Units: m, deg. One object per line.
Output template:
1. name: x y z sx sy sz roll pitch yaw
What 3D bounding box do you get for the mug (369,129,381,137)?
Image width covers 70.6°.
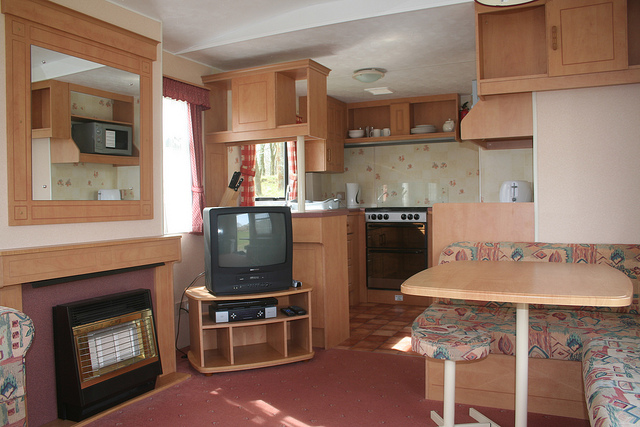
1. mug: 0.806 -1.197 6.744 0.168 0.124 0.222 0 7 10

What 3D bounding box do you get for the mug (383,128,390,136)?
1. mug: 0.985 -1.223 6.780 0.093 0.130 0.275 -1 7 9

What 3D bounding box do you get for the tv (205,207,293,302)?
1. tv: -0.761 0.370 4.199 0.504 0.827 0.953 -7 -6 43

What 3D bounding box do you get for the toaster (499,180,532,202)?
1. toaster: 1.815 -0.191 4.203 0.232 0.198 0.216 0 -2 6

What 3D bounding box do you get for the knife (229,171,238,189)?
1. knife: -0.854 -0.324 4.447 0.076 0.155 0.145 -2 7 -3

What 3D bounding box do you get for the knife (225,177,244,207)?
1. knife: -0.846 -0.208 4.422 0.103 0.323 0.101 18 13 14

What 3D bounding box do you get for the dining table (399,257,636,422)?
1. dining table: 1.214 0.558 2.861 1.216 1.058 1.172 3 6 20

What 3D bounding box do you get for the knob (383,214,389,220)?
1. knob: 0.874 0.043 6.040 0.063 0.035 0.063 21 -14 -34

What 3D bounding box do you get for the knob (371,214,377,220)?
1. knob: 0.718 0.044 6.104 0.068 0.057 0.064 3 -3 -10

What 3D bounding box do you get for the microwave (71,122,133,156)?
1. microwave: -1.775 -0.581 3.660 0.271 0.241 0.435 -1 3 14
